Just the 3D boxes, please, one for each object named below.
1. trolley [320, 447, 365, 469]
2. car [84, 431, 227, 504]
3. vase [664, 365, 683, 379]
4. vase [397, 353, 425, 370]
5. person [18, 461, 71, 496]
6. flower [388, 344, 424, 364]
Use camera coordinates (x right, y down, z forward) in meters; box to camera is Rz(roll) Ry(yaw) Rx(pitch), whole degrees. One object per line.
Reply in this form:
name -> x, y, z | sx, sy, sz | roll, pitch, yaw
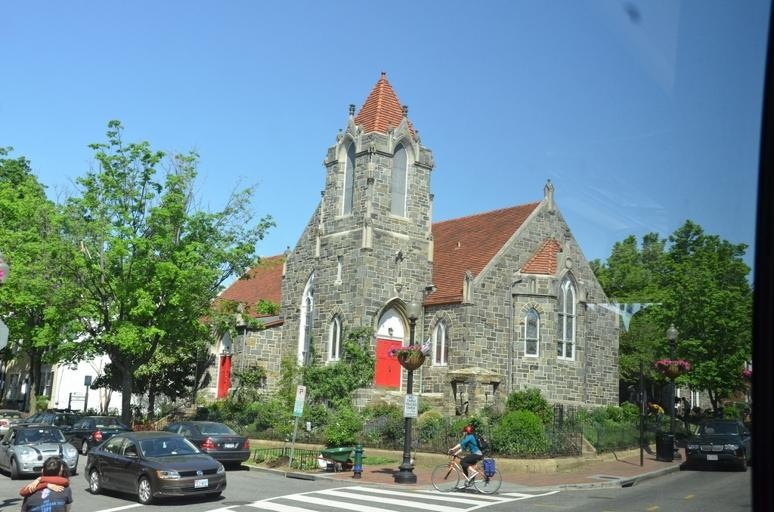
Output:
trolley -> -1.595, 7.739, 27.690 | 1.782, 0.801, 1.023 | 3, -7, -18
car -> -7.216, 6.579, 22.662 | 4.514, 2.181, 1.746 | -11, -20, 33
vase -> 9.962, 3.933, 24.837 | 0.528, 0.404, 0.513 | -1, -9, 3
vase -> 0.918, 4.044, 28.129 | 0.788, 0.547, 0.786 | 3, -18, -8
person -> -7.317, 4.715, 15.419 | 0.986, 0.440, 0.723 | -8, -9, -30
flower -> 0.910, 3.796, 28.396 | 1.130, 0.656, 1.130 | 3, -15, -4
